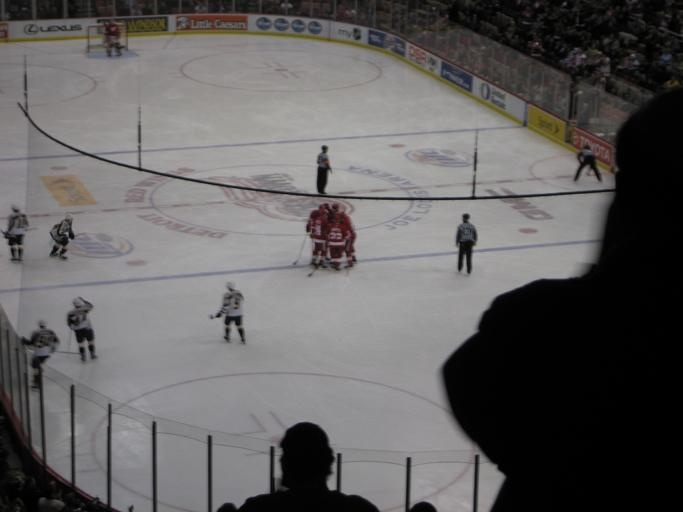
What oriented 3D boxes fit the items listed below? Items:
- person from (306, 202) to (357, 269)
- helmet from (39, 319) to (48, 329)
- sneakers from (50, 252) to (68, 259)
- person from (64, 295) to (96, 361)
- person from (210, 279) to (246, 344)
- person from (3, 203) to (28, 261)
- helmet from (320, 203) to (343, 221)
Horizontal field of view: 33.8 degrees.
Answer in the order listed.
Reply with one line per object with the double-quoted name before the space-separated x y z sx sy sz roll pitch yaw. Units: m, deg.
"person" -0.210 -0.447 24.319 0.926 1.413 0.825 -20 -11 38
"helmet" -4.729 1.065 17.856 0.118 0.127 0.132 1 29 -20
"sneakers" -6.239 -0.048 24.967 0.454 0.158 0.132 3 27 1
"person" -4.445 1.242 19.356 0.445 1.152 1.692 -12 -8 -13
"person" -2.004 1.021 19.955 0.652 1.107 1.409 -13 -8 -7
"person" -7.023 -0.529 24.284 0.530 1.219 0.941 -12 -9 -16
"helmet" -0.221 -0.993 24.335 0.367 0.191 0.428 6 -33 6
